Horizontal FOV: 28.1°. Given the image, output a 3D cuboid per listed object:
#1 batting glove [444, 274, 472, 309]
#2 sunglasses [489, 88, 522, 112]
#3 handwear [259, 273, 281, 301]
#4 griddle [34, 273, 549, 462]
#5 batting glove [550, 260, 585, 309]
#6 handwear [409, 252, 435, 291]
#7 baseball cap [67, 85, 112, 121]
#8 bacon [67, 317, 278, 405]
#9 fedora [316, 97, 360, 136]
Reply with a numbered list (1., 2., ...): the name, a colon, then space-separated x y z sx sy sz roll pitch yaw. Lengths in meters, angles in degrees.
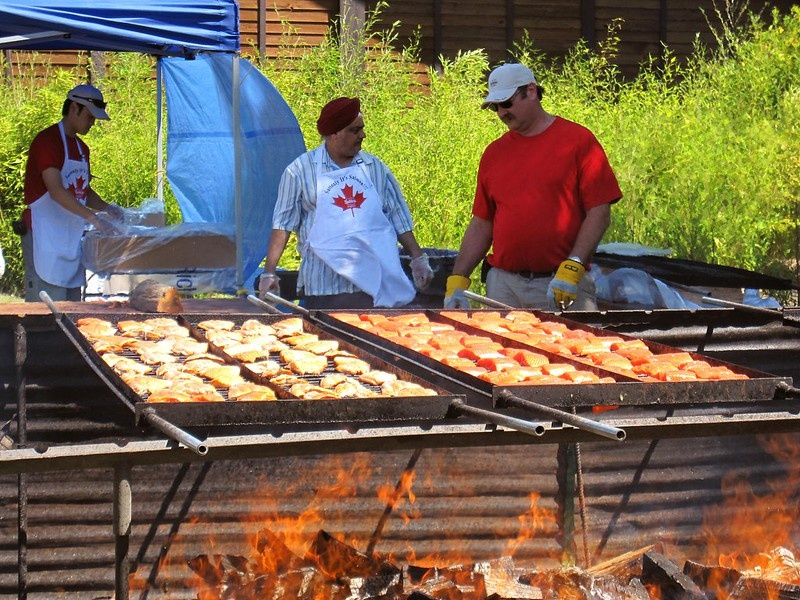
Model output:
1. batting glove: 0.358 -0.044 10.105 0.081 0.211 0.148 15 4 -17
2. sunglasses: 0.647 -1.257 10.029 0.041 0.159 0.147 16 19 32
3. handwear: -0.838 -0.088 9.979 0.115 0.166 0.063 2 -2 -9
4. griddle: -0.843 0.432 8.766 1.543 0.455 2.159 -6 18 -33
5. batting glove: 1.007 -0.097 9.843 0.184 0.314 0.122 29 -4 -2
6. handwear: 0.124 -0.192 10.428 0.166 0.220 0.099 -18 -3 11
7. baseball cap: -2.261 -1.451 11.543 0.309 0.175 0.219 28 8 -18
8. bacon: -1.306 0.111 8.782 0.434 0.061 1.031 -5 21 -30
9. fedora: -0.403 -1.156 10.083 0.261 0.266 0.124 3 14 -4
